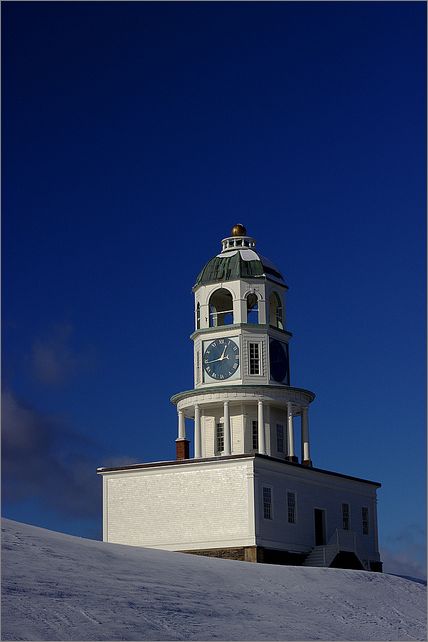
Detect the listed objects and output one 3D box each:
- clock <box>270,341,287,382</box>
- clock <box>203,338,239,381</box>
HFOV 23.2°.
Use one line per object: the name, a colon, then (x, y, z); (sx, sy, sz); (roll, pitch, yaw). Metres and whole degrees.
clock: (2.998, 1.976, 48.478); (0.192, 2.051, 1.920); (-4, -7, 31)
clock: (0.365, 1.817, 47.894); (1.889, 1.964, 0.158); (-8, -17, 20)
